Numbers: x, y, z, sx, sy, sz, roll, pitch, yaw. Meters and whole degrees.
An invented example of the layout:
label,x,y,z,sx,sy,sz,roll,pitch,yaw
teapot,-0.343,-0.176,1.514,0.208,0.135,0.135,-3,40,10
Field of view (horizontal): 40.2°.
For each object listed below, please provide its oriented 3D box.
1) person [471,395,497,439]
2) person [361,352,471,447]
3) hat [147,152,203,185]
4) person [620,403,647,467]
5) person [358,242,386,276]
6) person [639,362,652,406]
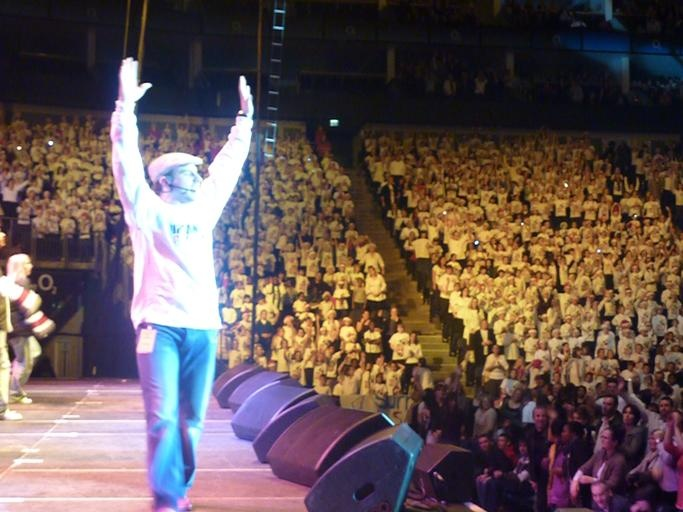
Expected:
label,x,y,z,sx,sy,sz,roll,pitch,yaw
person,2.478,2.777,16.108,0.393,0.716,0.354,4,-1,4
person,1.690,2.644,16.437,0.936,1.318,1.329,5,-1,-29
hat,-1.831,-0.968,10.357,0.464,0.222,0.358,-24,7,1
person,4.699,2.917,15.025,0.394,0.946,0.521,4,-1,17
person,0.603,0.097,18.987,0.495,0.856,0.303,-8,-23,3
person,5.704,2.479,17.481,0.264,0.954,0.252,2,17,31
